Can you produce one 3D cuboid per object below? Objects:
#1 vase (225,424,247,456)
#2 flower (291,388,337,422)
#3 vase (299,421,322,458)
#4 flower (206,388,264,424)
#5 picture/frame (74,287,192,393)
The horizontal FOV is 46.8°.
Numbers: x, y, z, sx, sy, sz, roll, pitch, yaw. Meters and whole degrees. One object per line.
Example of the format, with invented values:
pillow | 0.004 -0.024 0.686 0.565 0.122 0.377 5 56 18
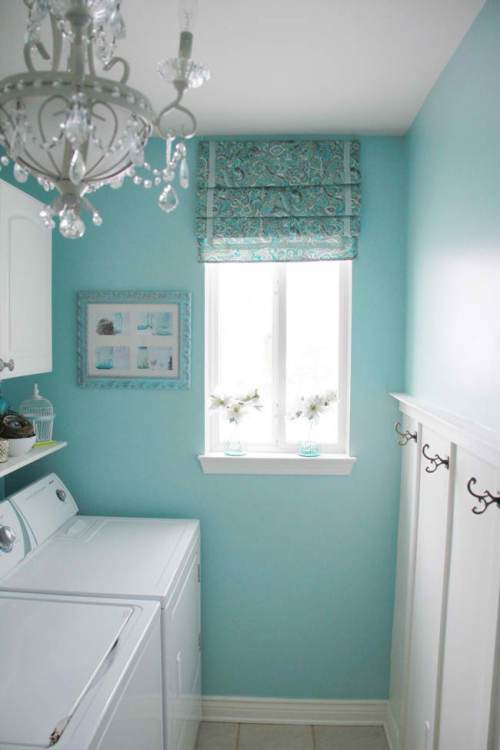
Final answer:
vase | -0.060 0.267 2.411 0.086 0.134 0.123 2 5 -3
flower | 0.258 0.132 2.342 0.171 0.142 0.109 5 5 26
vase | 0.241 0.262 2.353 0.094 0.153 0.096 6 6 38
flower | -0.051 0.129 2.393 0.240 0.139 0.149 1 5 -16
picture/frame | -0.458 -0.156 2.353 0.388 0.366 0.035 0 -1 2
